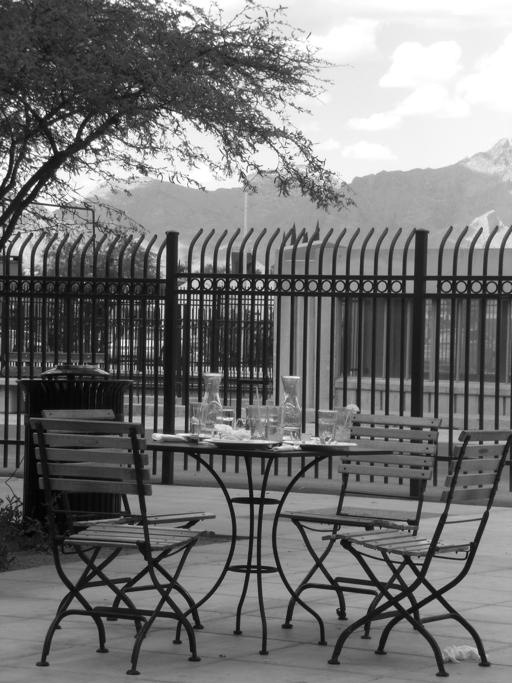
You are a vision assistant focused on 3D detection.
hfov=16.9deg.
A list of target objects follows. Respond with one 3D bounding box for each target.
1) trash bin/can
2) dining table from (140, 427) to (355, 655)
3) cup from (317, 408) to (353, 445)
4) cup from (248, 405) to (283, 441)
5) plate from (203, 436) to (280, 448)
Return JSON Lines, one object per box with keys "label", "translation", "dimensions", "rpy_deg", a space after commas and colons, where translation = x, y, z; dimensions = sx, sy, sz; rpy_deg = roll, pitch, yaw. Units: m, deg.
{"label": "trash bin/can", "translation": [-1.250, 0.712, 11.151], "dimensions": [0.749, 1.346, 0.880], "rpy_deg": [0, -1, 3]}
{"label": "dining table", "translation": [-0.032, 1.001, 9.237], "dimensions": [0.935, 1.381, 0.978], "rpy_deg": [-1, -2, 35]}
{"label": "cup", "translation": [0.416, 0.453, 9.026], "dimensions": [0.131, 0.196, 0.166], "rpy_deg": [1, -6, 2]}
{"label": "cup", "translation": [0.052, 0.419, 8.848], "dimensions": [0.146, 0.206, 0.168], "rpy_deg": [1, -2, 18]}
{"label": "plate", "translation": [-0.071, 0.523, 8.703], "dimensions": [0.384, 0.049, 0.213], "rpy_deg": [-2, 3, 9]}
